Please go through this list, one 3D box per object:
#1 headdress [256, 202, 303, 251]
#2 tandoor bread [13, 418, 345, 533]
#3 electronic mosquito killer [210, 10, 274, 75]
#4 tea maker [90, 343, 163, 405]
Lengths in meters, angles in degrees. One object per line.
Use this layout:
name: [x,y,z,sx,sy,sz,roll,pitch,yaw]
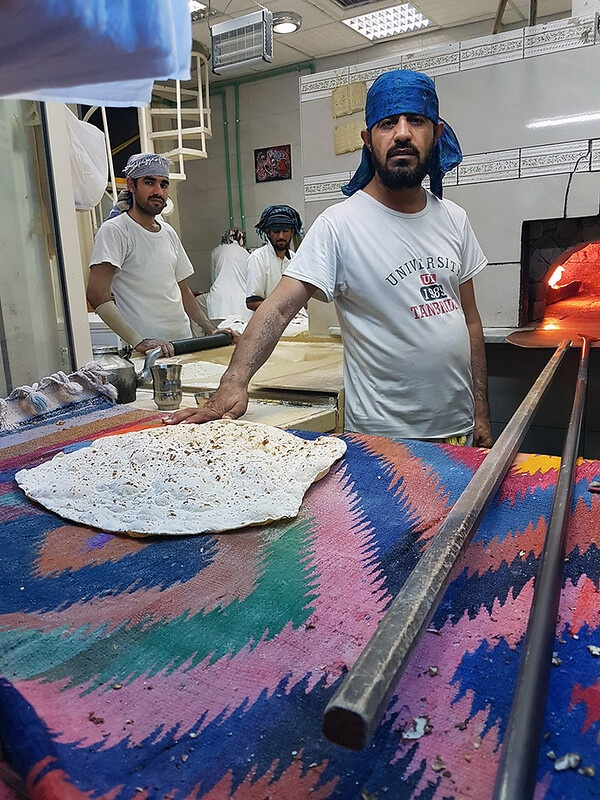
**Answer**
headdress: [-0.120,-1.142,3.810,0.283,0.270,0.313,1,20,2]
tandoor bread: [-0.202,0.058,1.036,0.451,0.114,0.590,12,16,42]
electronic mosquito killer: [-0.275,-1.762,2.826,0.373,0.229,0.122,6,18,31]
tea maker: [-0.522,-0.079,1.672,0.120,0.140,0.203,2,6,21]
